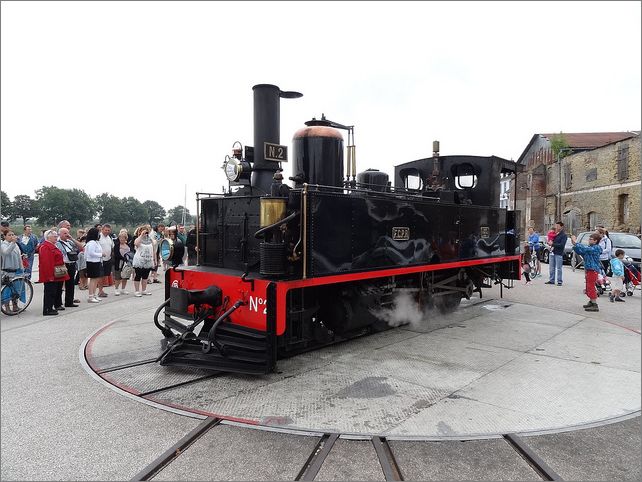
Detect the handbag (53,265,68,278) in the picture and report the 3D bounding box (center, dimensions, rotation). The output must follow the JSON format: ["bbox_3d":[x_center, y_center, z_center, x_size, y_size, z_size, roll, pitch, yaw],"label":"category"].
[{"bbox_3d":[-5.095,0.594,9.469,0.188,0.251,0.265,3,5,34],"label":"handbag"}]

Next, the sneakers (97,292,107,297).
[{"bbox_3d":[-5.202,1.272,11.568,0.243,0.103,0.084,1,3,8],"label":"sneakers"}]

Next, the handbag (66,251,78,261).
[{"bbox_3d":[-5.448,0.323,10.598,0.151,0.213,0.222,2,3,31],"label":"handbag"}]

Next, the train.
[{"bbox_3d":[0.601,-0.063,9.312,3.386,3.691,7.374,-3,-2,43],"label":"train"}]

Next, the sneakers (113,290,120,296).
[{"bbox_3d":[-5.033,1.272,11.953,0.096,0.119,0.286,1,-5,-31],"label":"sneakers"}]

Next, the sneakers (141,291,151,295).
[{"bbox_3d":[-4.274,1.265,11.890,0.204,0.087,0.077,1,6,4],"label":"sneakers"}]

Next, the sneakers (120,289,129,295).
[{"bbox_3d":[-4.907,1.262,12.097,0.251,0.116,0.089,2,10,13],"label":"sneakers"}]

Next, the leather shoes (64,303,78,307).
[{"bbox_3d":[-5.316,1.344,10.328,0.223,0.093,0.075,-2,4,-25],"label":"leather shoes"}]

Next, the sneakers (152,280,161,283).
[{"bbox_3d":[-4.866,1.202,14.452,0.180,0.076,0.085,-2,2,4],"label":"sneakers"}]

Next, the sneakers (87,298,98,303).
[{"bbox_3d":[-5.093,1.324,10.833,0.220,0.095,0.082,-1,0,6],"label":"sneakers"}]

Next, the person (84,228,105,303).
[{"bbox_3d":[-5.144,0.561,11.036,0.428,1.638,0.872,-4,10,-24],"label":"person"}]

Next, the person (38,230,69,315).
[{"bbox_3d":[-5.317,0.663,9.640,0.492,1.616,0.815,-5,11,-30],"label":"person"}]

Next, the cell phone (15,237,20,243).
[{"bbox_3d":[-6.940,-0.019,11.089,0.103,0.054,0.148,-10,-25,-15],"label":"cell phone"}]

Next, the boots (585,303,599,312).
[{"bbox_3d":[5.581,1.361,9.999,0.187,0.160,0.239,1,-1,-5],"label":"boots"}]

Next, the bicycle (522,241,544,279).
[{"bbox_3d":[6.507,0.637,15.006,0.740,0.977,1.565,1,5,18],"label":"bicycle"}]

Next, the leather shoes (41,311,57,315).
[{"bbox_3d":[-5.303,1.402,9.500,0.257,0.116,0.098,-1,3,-8],"label":"leather shoes"}]
